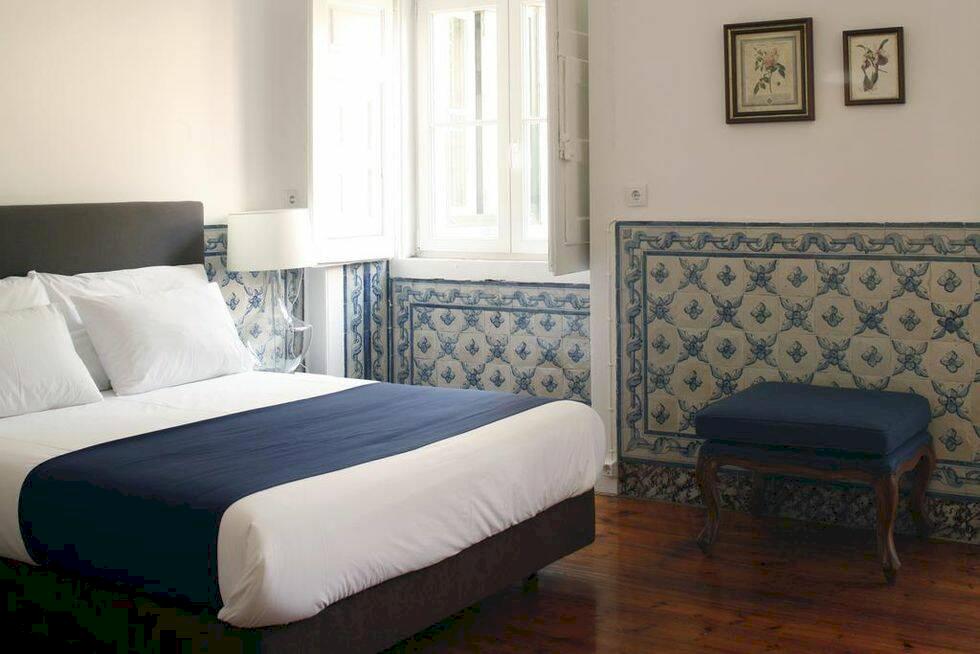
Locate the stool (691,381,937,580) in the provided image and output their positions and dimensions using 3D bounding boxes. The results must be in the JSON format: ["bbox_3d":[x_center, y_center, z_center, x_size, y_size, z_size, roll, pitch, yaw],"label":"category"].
[{"bbox_3d":[1.762,0.775,4.085,0.954,0.782,1.123,-5,2,-36],"label":"stool"}]

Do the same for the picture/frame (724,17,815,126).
[{"bbox_3d":[1.616,-1.475,4.276,0.596,0.748,0.052,1,2,29],"label":"picture/frame"}]

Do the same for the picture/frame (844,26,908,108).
[{"bbox_3d":[2.083,-1.407,4.067,0.298,0.443,0.031,2,-10,12],"label":"picture/frame"}]
